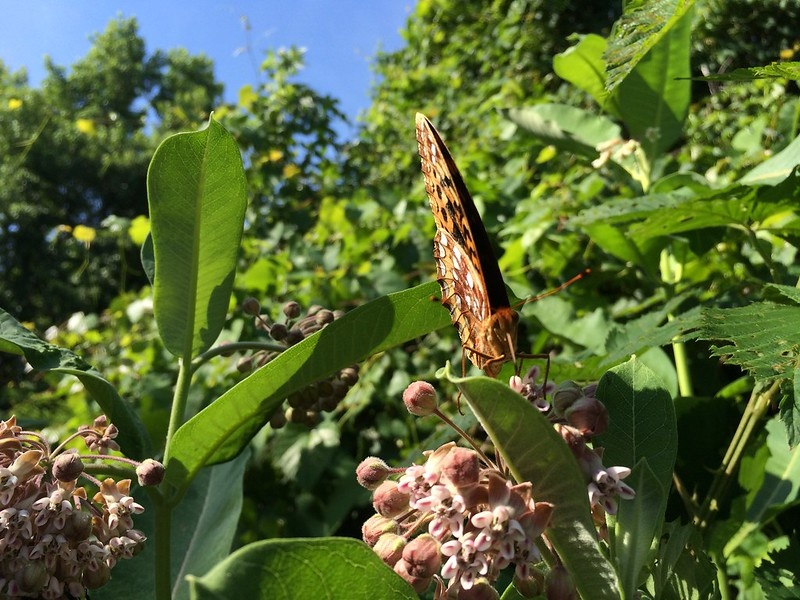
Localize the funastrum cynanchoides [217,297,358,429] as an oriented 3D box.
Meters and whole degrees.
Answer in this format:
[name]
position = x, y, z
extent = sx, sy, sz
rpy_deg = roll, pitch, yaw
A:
[funastrum cynanchoides]
position = -0.358, 0.199, 3.358
extent = 0.409, 0.402, 0.391
rpy_deg = 22, -11, 10
